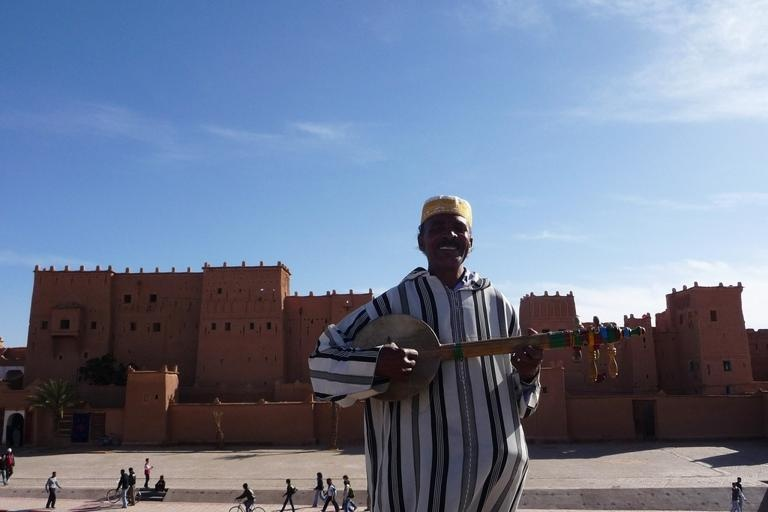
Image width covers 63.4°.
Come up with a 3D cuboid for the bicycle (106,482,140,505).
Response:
[{"bbox_3d":[-10.320,9.434,24.431,1.541,0.896,0.766,-4,-14,19],"label":"bicycle"}]

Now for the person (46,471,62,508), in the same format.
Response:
[{"bbox_3d":[-12.765,8.923,23.979,0.423,1.303,1.936,2,-6,-27],"label":"person"}]
